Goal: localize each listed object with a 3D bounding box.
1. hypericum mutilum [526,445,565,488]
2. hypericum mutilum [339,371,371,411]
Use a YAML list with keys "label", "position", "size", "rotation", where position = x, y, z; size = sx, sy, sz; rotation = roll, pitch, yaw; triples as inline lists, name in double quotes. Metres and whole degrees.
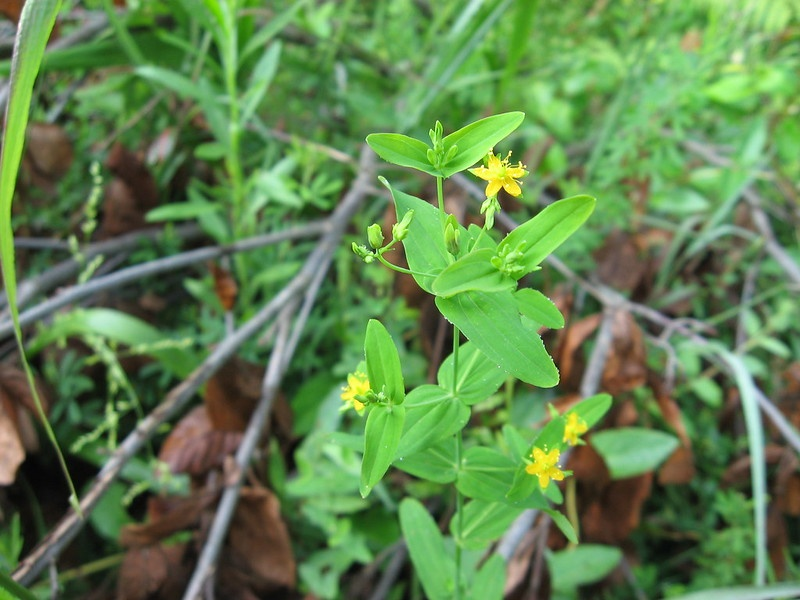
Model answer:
- label: "hypericum mutilum"
  position: [0.133, 0.143, 0.674]
  size: [0.034, 0.033, 0.012]
  rotation: [-17, 89, -10]
- label: "hypericum mutilum"
  position: [-0.035, 0.082, 0.683]
  size: [0.026, 0.015, 0.031]
  rotation: [-4, 33, -43]
